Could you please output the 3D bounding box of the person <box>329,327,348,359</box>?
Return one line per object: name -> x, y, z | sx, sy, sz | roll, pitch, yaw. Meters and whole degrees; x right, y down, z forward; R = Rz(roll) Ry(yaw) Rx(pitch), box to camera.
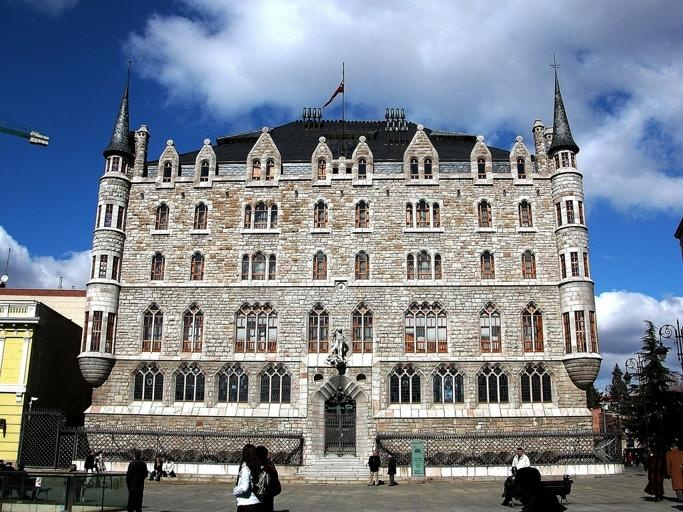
person -> -0.096, 5.854, 47.550 | 1.117, 2.122, 0.581 | 0, -11, -2
